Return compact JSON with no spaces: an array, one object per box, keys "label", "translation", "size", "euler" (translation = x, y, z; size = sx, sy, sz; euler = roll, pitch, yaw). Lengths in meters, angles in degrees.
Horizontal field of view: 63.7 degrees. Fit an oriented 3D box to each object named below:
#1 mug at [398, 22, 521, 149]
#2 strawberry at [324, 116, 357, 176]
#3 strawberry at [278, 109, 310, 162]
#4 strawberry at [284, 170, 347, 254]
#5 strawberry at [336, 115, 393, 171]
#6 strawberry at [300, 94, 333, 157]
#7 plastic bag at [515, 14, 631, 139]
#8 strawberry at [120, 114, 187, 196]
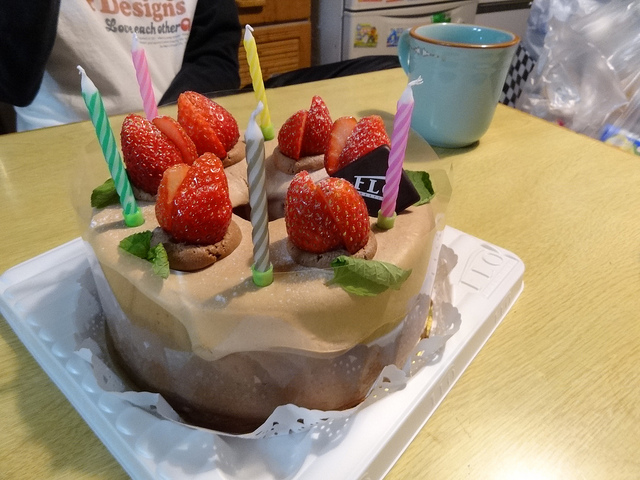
[{"label":"mug","translation":[0.518,-0.629,2.072],"size":[0.466,0.427,0.413],"euler":[14,35,16]},{"label":"strawberry","translation":[0.050,-0.275,1.464],"size":[0.036,0.173,0.089],"euler":[10,1,17]},{"label":"strawberry","translation":[-0.076,-0.303,1.496],"size":[0.095,0.116,0.086],"euler":[-5,39,-5]},{"label":"strawberry","translation":[-0.023,-0.053,1.208],"size":[0.086,0.146,0.161],"euler":[-31,48,-32]},{"label":"strawberry","translation":[0.121,-0.274,1.449],"size":[0.084,0.118,0.158],"euler":[32,65,12]},{"label":"strawberry","translation":[-0.011,-0.318,1.489],"size":[0.084,0.110,0.154],"euler":[16,74,-4]},{"label":"plastic bag","translation":[1.304,-0.816,2.594],"size":[0.285,0.533,0.469],"euler":[-38,65,-21]},{"label":"strawberry","translation":[-0.447,-0.227,1.382],"size":[0.113,0.204,0.150],"euler":[-38,-1,10]}]
